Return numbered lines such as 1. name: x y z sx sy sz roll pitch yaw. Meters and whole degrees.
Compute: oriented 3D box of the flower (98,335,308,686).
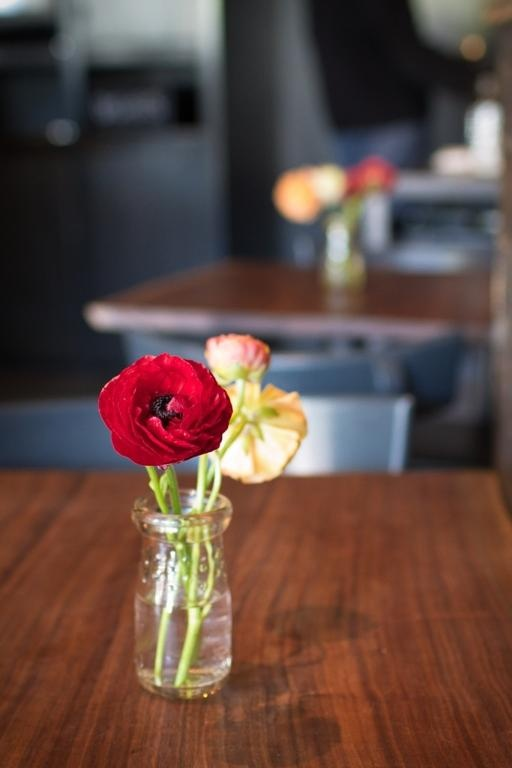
1. flower: -0.036 0.075 0.381 0.116 0.165 0.120 -3 -3 23
